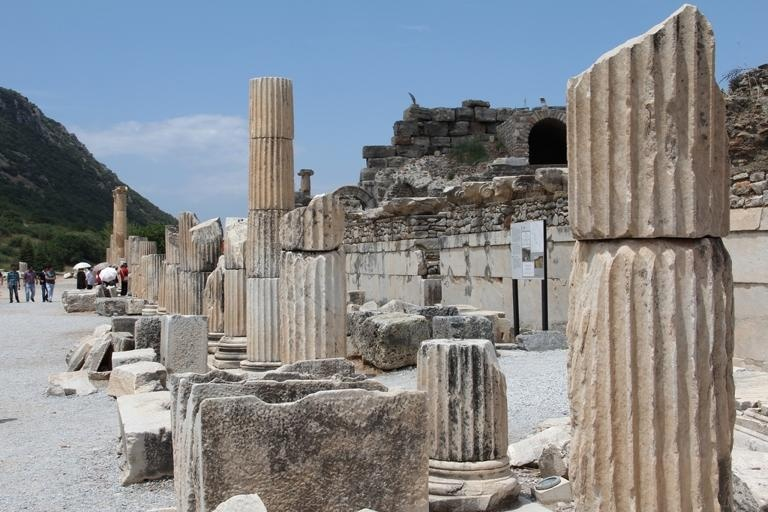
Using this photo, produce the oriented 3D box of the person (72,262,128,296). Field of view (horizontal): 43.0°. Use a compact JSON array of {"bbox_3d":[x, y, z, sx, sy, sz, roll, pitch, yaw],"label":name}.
[{"bbox_3d":[-9.309,0.762,31.945,1.435,0.496,1.114,1,3,9],"label":"person"}]
